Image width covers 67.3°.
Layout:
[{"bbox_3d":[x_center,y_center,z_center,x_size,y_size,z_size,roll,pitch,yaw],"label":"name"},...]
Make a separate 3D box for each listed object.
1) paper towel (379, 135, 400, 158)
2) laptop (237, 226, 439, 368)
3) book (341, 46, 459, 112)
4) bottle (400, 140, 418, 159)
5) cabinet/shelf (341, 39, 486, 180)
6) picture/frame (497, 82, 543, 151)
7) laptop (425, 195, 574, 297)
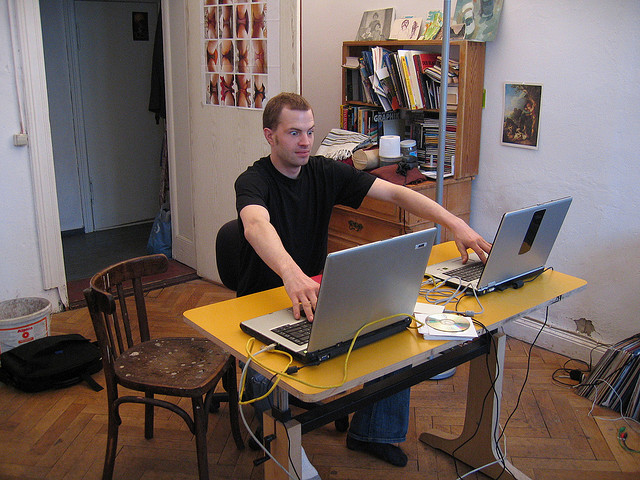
[{"bbox_3d":[0.503,-0.677,3.468,0.140,0.147,0.148,7,16,23],"label":"paper towel"},{"bbox_3d":[0.079,0.144,1.772,0.545,0.432,0.471,-9,21,-35],"label":"laptop"},{"bbox_3d":[0.572,-1.168,3.545,0.709,0.360,0.571,5,18,4],"label":"book"},{"bbox_3d":[0.637,-0.668,3.495,0.128,0.153,0.136,-1,21,1],"label":"bottle"},{"bbox_3d":[0.698,-0.917,3.419,0.912,0.854,0.312,22,36,33],"label":"cabinet/shelf"},{"bbox_3d":[1.372,-0.854,3.277,0.368,0.575,0.035,13,21,40],"label":"picture/frame"},{"bbox_3d":[0.792,-0.008,2.173,0.513,0.381,0.435,-10,19,-31],"label":"laptop"}]
